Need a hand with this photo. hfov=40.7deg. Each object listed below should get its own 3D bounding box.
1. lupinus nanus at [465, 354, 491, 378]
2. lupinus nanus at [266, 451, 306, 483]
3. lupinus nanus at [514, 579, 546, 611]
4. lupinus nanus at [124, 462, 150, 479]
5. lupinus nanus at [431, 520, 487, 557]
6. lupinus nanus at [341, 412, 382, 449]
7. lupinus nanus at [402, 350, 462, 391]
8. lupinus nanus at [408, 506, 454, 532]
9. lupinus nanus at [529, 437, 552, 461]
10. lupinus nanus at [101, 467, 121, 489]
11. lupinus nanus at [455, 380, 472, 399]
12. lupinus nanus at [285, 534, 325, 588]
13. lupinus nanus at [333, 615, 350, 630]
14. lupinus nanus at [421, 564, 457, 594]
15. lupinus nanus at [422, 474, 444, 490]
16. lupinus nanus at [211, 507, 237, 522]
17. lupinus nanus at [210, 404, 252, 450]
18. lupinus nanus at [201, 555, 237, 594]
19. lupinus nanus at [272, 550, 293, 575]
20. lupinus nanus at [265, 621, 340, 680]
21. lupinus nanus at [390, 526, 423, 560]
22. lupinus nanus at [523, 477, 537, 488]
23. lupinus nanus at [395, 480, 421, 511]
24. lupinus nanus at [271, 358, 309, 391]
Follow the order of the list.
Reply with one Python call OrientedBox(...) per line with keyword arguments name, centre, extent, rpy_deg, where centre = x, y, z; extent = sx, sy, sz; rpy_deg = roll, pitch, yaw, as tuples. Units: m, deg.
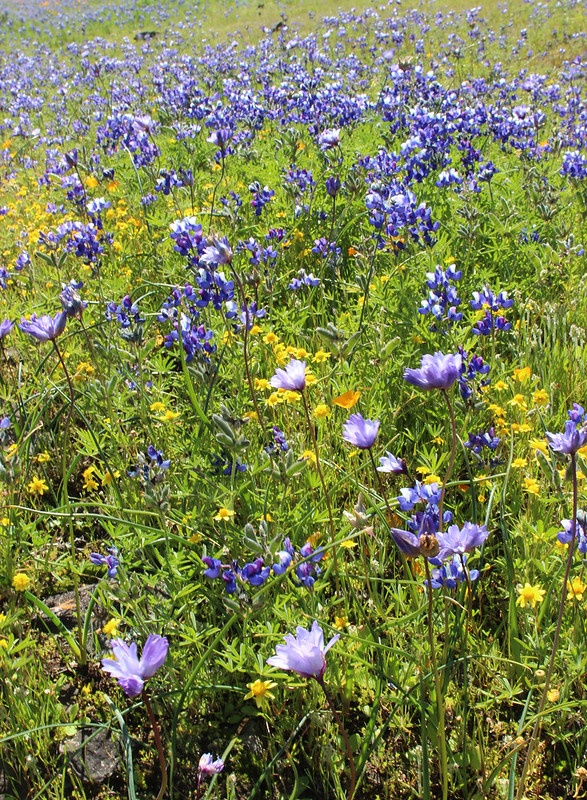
OrientedBox(name="lupinus nanus", centre=(0.670, -0.111, 2.891), extent=(0.079, 0.070, 0.119), rpy_deg=(-7, 2, 12))
OrientedBox(name="lupinus nanus", centre=(-0.019, 0.191, 2.396), extent=(0.100, 0.113, 0.056), rpy_deg=(-22, 32, -32))
OrientedBox(name="lupinus nanus", centre=(0.676, 0.546, 2.261), extent=(0.074, 0.102, 0.032), rpy_deg=(-4, 30, 2))
OrientedBox(name="lupinus nanus", centre=(-0.544, 0.244, 2.761), extent=(0.058, 0.039, 0.095), rpy_deg=(-2, 12, -18))
OrientedBox(name="lupinus nanus", centre=(0.379, 0.310, 1.795), extent=(0.084, 0.045, 0.095), rpy_deg=(-27, 1, 7))
OrientedBox(name="lupinus nanus", centre=(0.179, 0.081, 2.091), extent=(0.076, 0.085, 0.090), rpy_deg=(-25, 1, -16))
OrientedBox(name="lupinus nanus", centre=(0.326, -0.040, 1.868), extent=(0.082, 0.077, 0.111), rpy_deg=(-20, -7, -18))
OrientedBox(name="lupinus nanus", centre=(0.356, 0.310, 2.079), extent=(0.091, 0.071, 0.132), rpy_deg=(-3, 12, 22))
OrientedBox(name="lupinus nanus", centre=(0.788, 0.157, 2.541), extent=(0.028, 0.079, 0.071), rpy_deg=(-21, -5, -22))
OrientedBox(name="lupinus nanus", centre=(-0.690, 0.292, 3.016), extent=(0.086, 0.057, 0.097), rpy_deg=(-35, -22, 30))
OrientedBox(name="lupinus nanus", centre=(0.584, -0.032, 2.697), extent=(0.020, 0.077, 0.034), rpy_deg=(0, -6, -37))
OrientedBox(name="lupinus nanus", centre=(0.029, 0.429, 2.151), extent=(0.095, 0.083, 0.141), rpy_deg=(-21, 36, 15))
OrientedBox(name="lupinus nanus", centre=(0.142, 0.667, 2.368), extent=(0.027, 0.054, 0.044), rpy_deg=(14, 23, 38))
OrientedBox(name="lupinus nanus", centre=(0.385, 0.459, 2.068), extent=(0.081, 0.054, 0.112), rpy_deg=(-13, 15, 9))
OrientedBox(name="lupinus nanus", centre=(0.440, 0.257, 2.518), extent=(0.051, 0.057, 0.028), rpy_deg=(15, 63, 44))
OrientedBox(name="lupinus nanus", centre=(-0.222, 0.369, 2.541), extent=(0.049, 0.029, 0.055), rpy_deg=(-11, -17, -28))
OrientedBox(name="lupinus nanus", centre=(-0.190, 0.101, 2.480), extent=(0.102, 0.137, 0.086), rpy_deg=(-11, 54, 13))
OrientedBox(name="lupinus nanus", centre=(-0.190, 0.493, 2.213), extent=(0.043, 0.168, 0.072), rpy_deg=(-14, 50, 23))
OrientedBox(name="lupinus nanus", centre=(-0.033, 0.461, 2.200), extent=(0.032, 0.075, 0.049), rpy_deg=(19, 2, -31))
OrientedBox(name="lupinus nanus", centre=(0.022, 0.508, 1.646), extent=(0.138, 0.102, 0.128), rpy_deg=(-38, -22, 4))
OrientedBox(name="lupinus nanus", centre=(0.233, 0.293, 1.632), extent=(0.042, 0.070, 0.026), rpy_deg=(-46, 0, 27))
OrientedBox(name="lupinus nanus", centre=(0.790, 0.274, 2.659), extent=(0.029, 0.017, 0.033), rpy_deg=(20, 25, -6))
OrientedBox(name="lupinus nanus", centre=(0.315, 0.253, 2.147), extent=(0.040, 0.053, 0.082), rpy_deg=(-5, 28, 2))
OrientedBox(name="lupinus nanus", centre=(-0.004, -0.080, 2.205), extent=(0.077, 0.058, 0.092), rpy_deg=(-19, 20, 20))
